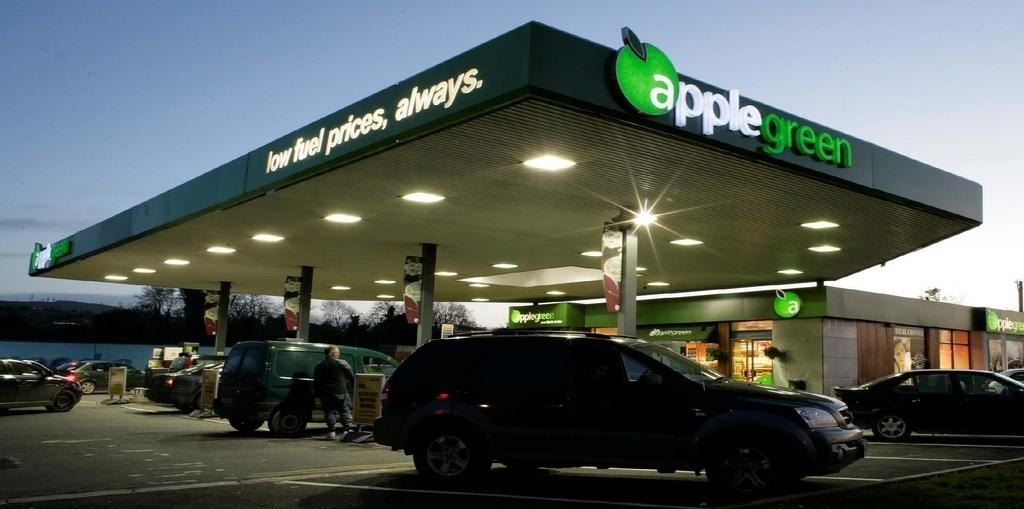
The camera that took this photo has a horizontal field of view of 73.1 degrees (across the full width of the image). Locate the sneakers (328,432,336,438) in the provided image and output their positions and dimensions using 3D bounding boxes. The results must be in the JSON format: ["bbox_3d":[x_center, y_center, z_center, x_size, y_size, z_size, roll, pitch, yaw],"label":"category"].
[{"bbox_3d":[-5.854,5.894,22.583,0.212,0.159,0.188,5,-9,-23],"label":"sneakers"}]
